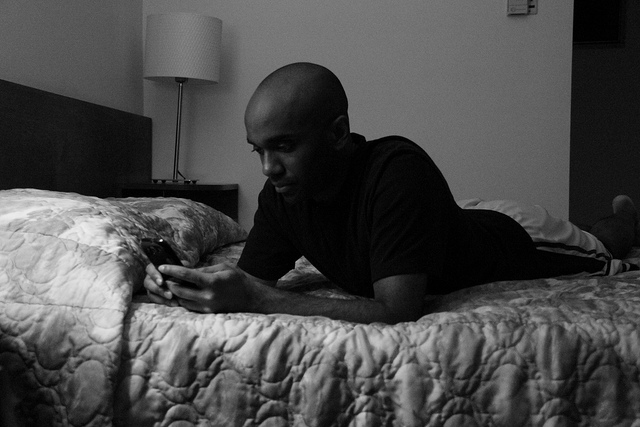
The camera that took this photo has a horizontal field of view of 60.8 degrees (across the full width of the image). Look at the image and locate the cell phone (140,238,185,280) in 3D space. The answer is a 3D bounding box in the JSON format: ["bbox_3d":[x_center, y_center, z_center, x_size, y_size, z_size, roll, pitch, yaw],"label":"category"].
[{"bbox_3d":[-0.392,0.114,1.343,0.058,0.109,0.012,-32,3,39],"label":"cell phone"}]

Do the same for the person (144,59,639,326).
[{"bbox_3d":[0.287,-0.030,1.736,1.560,0.665,0.665,-5,-6,-38],"label":"person"}]

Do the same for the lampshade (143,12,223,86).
[{"bbox_3d":[-0.761,-0.900,2.961,0.364,0.320,0.411,3,1,-11],"label":"lampshade"}]
